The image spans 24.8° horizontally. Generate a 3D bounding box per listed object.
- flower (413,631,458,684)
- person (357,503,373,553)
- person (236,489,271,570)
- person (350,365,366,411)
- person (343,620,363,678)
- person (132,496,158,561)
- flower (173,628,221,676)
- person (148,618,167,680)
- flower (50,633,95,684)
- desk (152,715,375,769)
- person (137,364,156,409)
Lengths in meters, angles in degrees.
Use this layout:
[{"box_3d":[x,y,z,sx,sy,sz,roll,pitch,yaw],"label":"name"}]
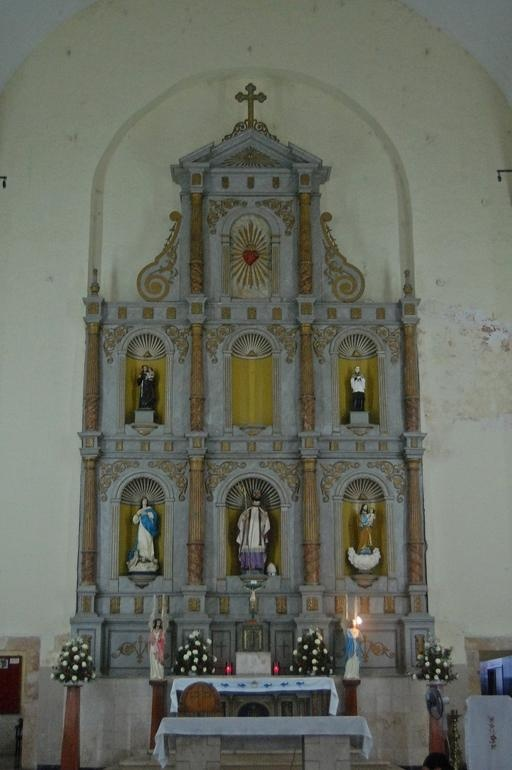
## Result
[{"box_3d":[2.370,3.615,15.553,0.593,0.709,0.646,0,-5,23],"label":"flower"},{"box_3d":[1.586,2.059,16.805,0.228,0.729,0.445,-4,-14,9],"label":"person"},{"box_3d":[-0.034,2.104,16.726,0.420,1.210,0.532,-9,-15,27],"label":"person"},{"box_3d":[1.512,0.051,17.377,0.242,0.742,0.343,-3,-14,5],"label":"person"},{"box_3d":[1.255,3.475,15.401,0.235,0.810,0.447,-3,-14,4],"label":"person"},{"box_3d":[-1.585,2.095,16.735,0.339,0.944,0.253,-1,-14,-3],"label":"person"},{"box_3d":[-0.835,3.581,15.623,0.555,0.591,0.764,-1,-14,-5],"label":"flower"},{"box_3d":[-1.295,3.461,15.264,0.208,0.788,0.480,0,-14,-5],"label":"person"},{"box_3d":[-2.331,3.554,15.024,0.500,0.605,0.486,4,-15,-22],"label":"flower"},{"box_3d":[0.081,3.629,12.038,2.212,0.470,0.696,0,-14,-7],"label":"desk"},{"box_3d":[-1.610,0.031,17.291,0.280,0.737,0.279,0,-14,-7],"label":"person"}]
